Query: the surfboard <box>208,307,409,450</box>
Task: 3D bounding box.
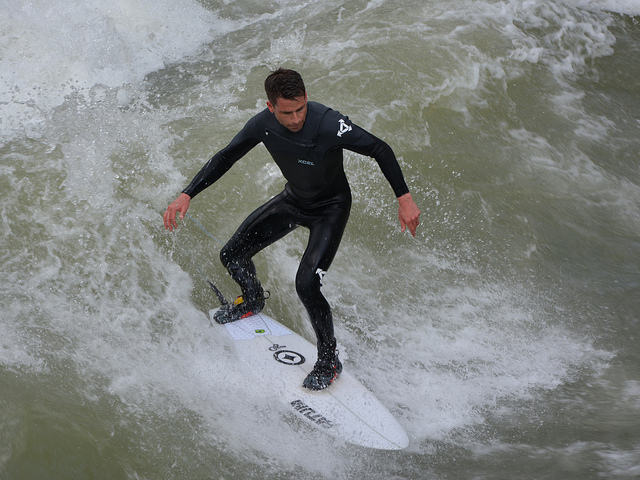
[{"bbox_3d":[-0.106,1.704,8.287,0.875,0.363,3.392,-36,46,-27],"label":"surfboard"}]
